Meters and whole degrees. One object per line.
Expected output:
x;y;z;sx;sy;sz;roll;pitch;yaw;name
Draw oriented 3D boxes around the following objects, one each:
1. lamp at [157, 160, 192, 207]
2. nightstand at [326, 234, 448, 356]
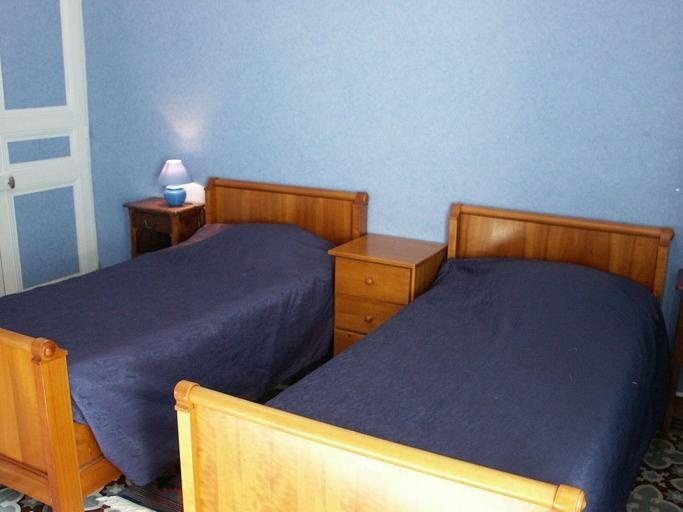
-1.337;-0.574;4.300;0.224;0.358;0.236;-7;16;-40;lamp
0.212;0.205;3.851;0.683;1.028;0.711;11;17;35;nightstand
